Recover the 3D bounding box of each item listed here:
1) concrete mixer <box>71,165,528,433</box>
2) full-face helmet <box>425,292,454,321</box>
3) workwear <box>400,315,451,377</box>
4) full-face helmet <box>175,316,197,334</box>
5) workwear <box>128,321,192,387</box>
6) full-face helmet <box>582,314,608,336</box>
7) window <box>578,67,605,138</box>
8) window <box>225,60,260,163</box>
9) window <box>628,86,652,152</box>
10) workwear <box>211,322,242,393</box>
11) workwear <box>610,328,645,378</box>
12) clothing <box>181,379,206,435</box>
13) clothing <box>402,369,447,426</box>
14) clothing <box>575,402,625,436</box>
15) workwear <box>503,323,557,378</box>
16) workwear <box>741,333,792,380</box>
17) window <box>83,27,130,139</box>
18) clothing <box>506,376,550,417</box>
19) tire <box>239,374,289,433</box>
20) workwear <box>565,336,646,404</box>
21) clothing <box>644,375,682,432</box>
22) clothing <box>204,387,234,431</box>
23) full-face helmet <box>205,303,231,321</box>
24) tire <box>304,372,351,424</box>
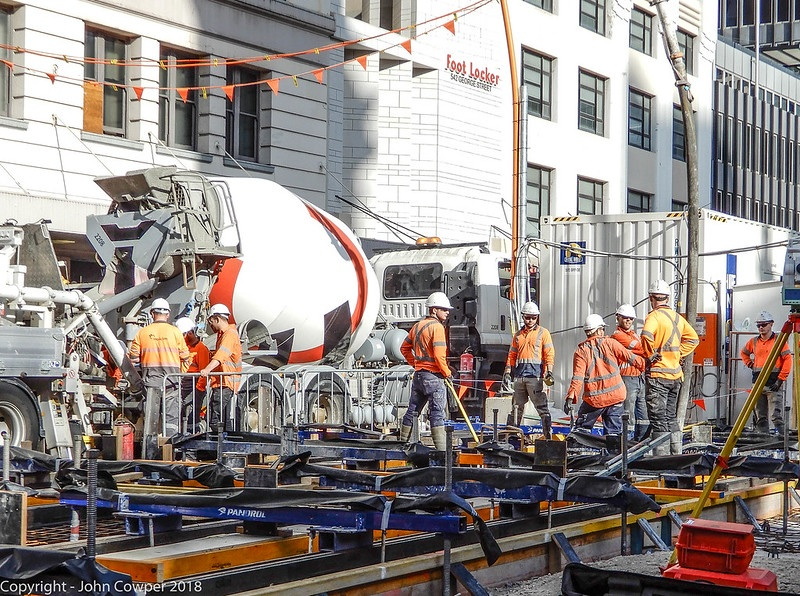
[{"bbox_3d":[-1.303,-0.037,30.514,3.718,4.042,9.095,0,-2,39],"label":"concrete mixer"},{"bbox_3d":[0.658,0.140,27.394,0.476,0.476,0.402,6,5,3],"label":"full-face helmet"},{"bbox_3d":[0.468,0.769,27.257,0.541,0.955,1.173,2,4,-34],"label":"workwear"},{"bbox_3d":[-3.528,0.458,26.713,0.255,0.225,0.308,22,-20,-26],"label":"full-face helmet"},{"bbox_3d":[-3.941,0.838,26.500,0.966,1.128,0.684,3,23,-8],"label":"workwear"},{"bbox_3d":[3.247,0.480,27.195,0.398,0.372,0.306,-13,12,-26],"label":"full-face helmet"},{"bbox_3d":[5.662,-5.919,48.562,0.295,2.104,2.146,-7,-8,31],"label":"window"},{"bbox_3d":[-3.677,-4.229,36.880,1.177,2.201,0.190,12,17,28],"label":"window"},{"bbox_3d":[7.472,-5.687,51.002,0.094,2.033,2.068,-3,-7,30],"label":"window"},{"bbox_3d":[-2.839,1.013,26.367,0.414,0.888,0.925,3,-17,-3],"label":"workwear"},{"bbox_3d":[3.917,0.841,27.305,0.494,0.822,0.690,-17,7,10],"label":"workwear"},{"bbox_3d":[-3.375,1.798,26.347,0.044,1.103,0.847,-7,-8,33],"label":"clothing"},{"bbox_3d":[0.422,1.709,27.154,0.819,1.045,0.397,-2,-3,38],"label":"clothing"},{"bbox_3d":[3.253,1.982,26.391,0.650,0.785,0.289,4,-2,16],"label":"clothing"},{"bbox_3d":[2.351,0.956,28.992,1.068,1.158,0.613,-1,-9,17],"label":"workwear"},{"bbox_3d":[6.234,0.992,27.510,0.588,0.895,0.973,14,-9,-33],"label":"workwear"},{"bbox_3d":[-6.152,-4.475,33.693,0.468,2.195,1.314,-3,-5,17],"label":"window"},{"bbox_3d":[2.254,1.751,28.785,0.752,1.014,0.361,2,27,33],"label":"clothing"},{"bbox_3d":[-2.282,1.717,26.567,0.896,0.989,0.535,0,-5,-12],"label":"tire"},{"bbox_3d":[3.338,1.214,26.821,1.193,1.206,0.444,-2,-5,5],"label":"workwear"},{"bbox_3d":[4.254,1.713,26.396,0.671,1.146,0.385,21,-19,-39],"label":"clothing"},{"bbox_3d":[-2.922,1.811,26.057,0.475,0.342,1.032,-9,38,7],"label":"clothing"},{"bbox_3d":[-3.009,0.213,26.690,0.306,0.188,0.220,2,-7,12],"label":"full-face helmet"},{"bbox_3d":[-1.242,1.695,27.468,0.332,0.868,1.127,-5,-7,40],"label":"tire"}]
